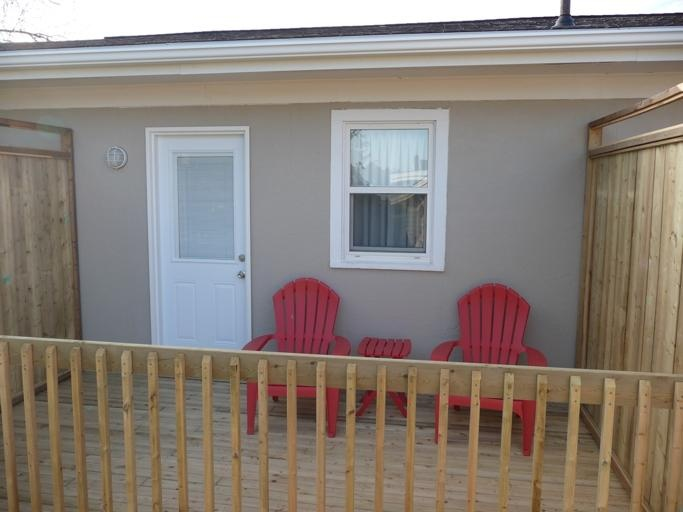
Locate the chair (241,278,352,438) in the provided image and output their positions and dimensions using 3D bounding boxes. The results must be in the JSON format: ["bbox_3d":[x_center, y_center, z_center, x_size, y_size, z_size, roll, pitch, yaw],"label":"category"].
[{"bbox_3d":[-0.352,0.871,6.636,0.895,1.216,0.934,2,3,21],"label":"chair"}]

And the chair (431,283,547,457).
[{"bbox_3d":[1.255,0.912,6.543,0.933,1.303,0.971,2,3,12],"label":"chair"}]
